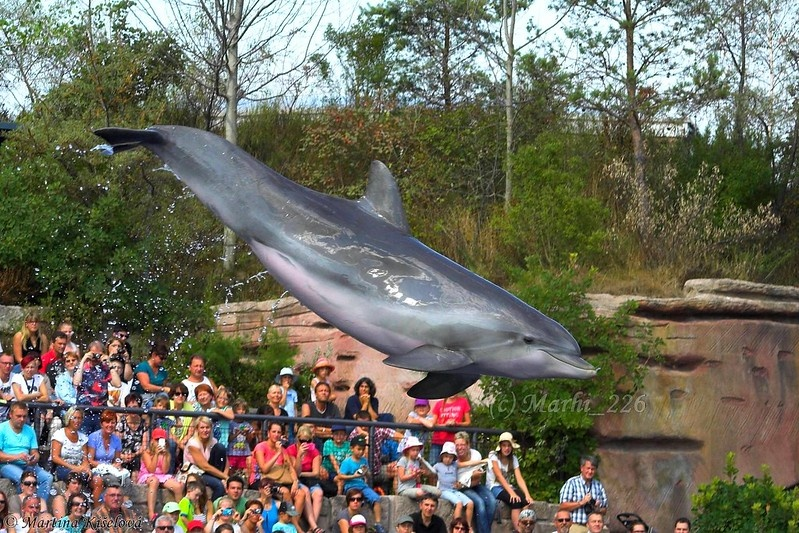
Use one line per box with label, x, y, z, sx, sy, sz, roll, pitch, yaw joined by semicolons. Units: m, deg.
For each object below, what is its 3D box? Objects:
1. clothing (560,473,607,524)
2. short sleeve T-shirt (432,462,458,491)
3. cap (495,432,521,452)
clothing;3.518;4.441;29.823;0.853;0.926;0.438;-2;0;6
short sleeve T-shirt;0.843;3.999;29.738;0.473;0.444;0.259;1;-15;-17
cap;2.105;3.403;30.338;0.380;0.242;0.368;1;-6;-16
